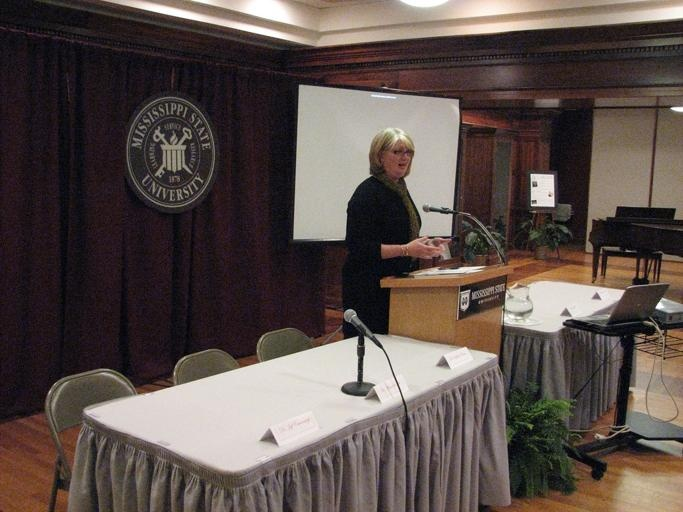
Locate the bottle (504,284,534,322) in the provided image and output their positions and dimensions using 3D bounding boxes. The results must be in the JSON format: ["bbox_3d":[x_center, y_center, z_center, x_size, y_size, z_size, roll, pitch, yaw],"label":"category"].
[{"bbox_3d":[1.165,0.305,3.597,0.170,0.226,0.263,0,-14,2],"label":"bottle"}]

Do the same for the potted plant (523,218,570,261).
[{"bbox_3d":[4.115,-0.380,10.934,0.913,0.676,0.953,3,3,2],"label":"potted plant"}]

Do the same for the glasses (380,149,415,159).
[{"bbox_3d":[0.347,-0.608,3.171,0.081,0.045,0.106,2,4,29],"label":"glasses"}]

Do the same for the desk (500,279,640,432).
[{"bbox_3d":[1.684,0.715,3.864,0.754,0.724,1.348,4,5,33],"label":"desk"}]

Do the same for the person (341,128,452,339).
[{"bbox_3d":[0.298,-0.111,3.154,0.604,1.296,0.509,-1,8,-1],"label":"person"}]

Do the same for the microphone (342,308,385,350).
[{"bbox_3d":[0.126,0.391,2.886,0.292,0.071,0.081,45,25,13],"label":"microphone"}]

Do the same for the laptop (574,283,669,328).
[{"bbox_3d":[1.816,0.307,3.335,0.361,0.219,0.346,0,-1,-31],"label":"laptop"}]
